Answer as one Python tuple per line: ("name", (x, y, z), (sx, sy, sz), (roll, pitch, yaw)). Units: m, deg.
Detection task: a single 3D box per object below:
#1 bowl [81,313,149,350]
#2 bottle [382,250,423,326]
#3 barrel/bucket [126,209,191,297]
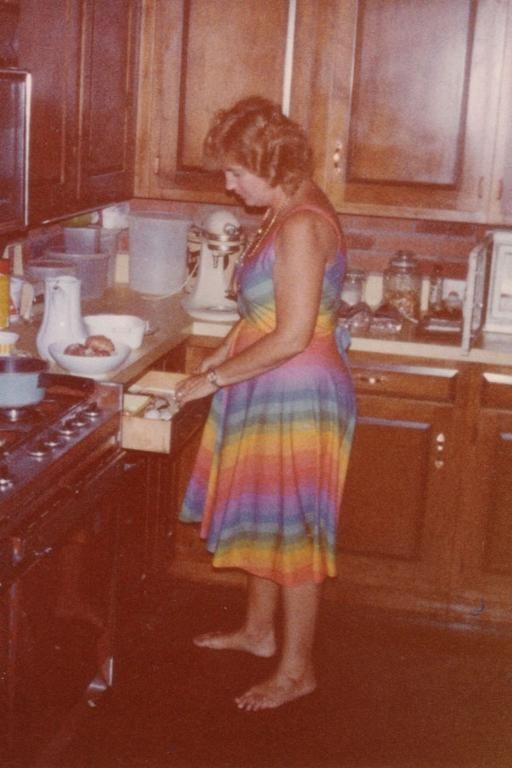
("bowl", (-0.348, -0.147, 1.693), (0.119, 0.049, 0.104), (7, 12, 24))
("bottle", (0.519, -0.359, 2.388), (0.138, 0.214, 0.104), (7, 6, 14))
("barrel/bucket", (-0.310, -0.485, 2.461), (0.278, 0.306, 0.246), (3, 24, -3))
